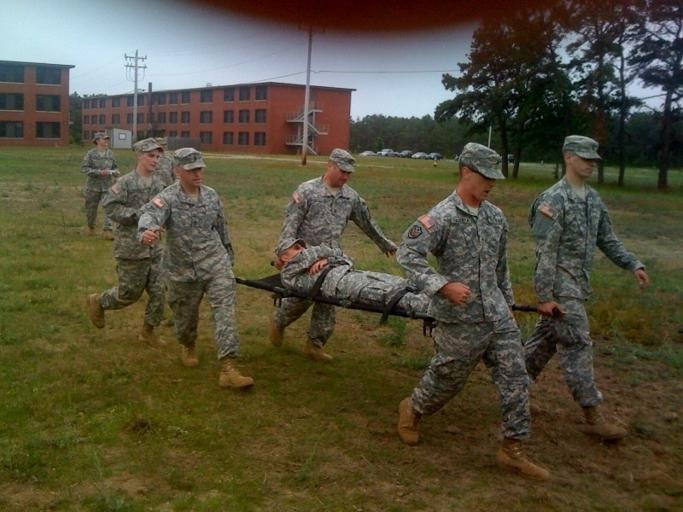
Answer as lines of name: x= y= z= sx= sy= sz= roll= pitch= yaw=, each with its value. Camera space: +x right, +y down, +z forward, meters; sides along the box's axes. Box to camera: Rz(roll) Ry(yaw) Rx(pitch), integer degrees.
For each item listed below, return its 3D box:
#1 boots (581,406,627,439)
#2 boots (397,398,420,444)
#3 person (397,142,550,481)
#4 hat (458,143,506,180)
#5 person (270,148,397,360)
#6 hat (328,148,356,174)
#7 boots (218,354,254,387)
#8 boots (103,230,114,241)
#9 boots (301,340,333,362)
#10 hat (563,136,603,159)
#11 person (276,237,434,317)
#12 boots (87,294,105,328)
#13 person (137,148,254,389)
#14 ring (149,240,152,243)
boots: x=2.289 y=1.420 z=4.775 sx=0.379 sy=0.348 sz=0.211 roll=-5 pitch=9 yaw=35
boots: x=0.568 y=1.395 z=4.568 sx=0.147 sy=0.390 sz=0.281 roll=-2 pitch=-19 yaw=-21
person: x=0.974 y=0.381 z=4.274 sx=1.127 sy=2.462 sz=0.810 roll=5 pitch=15 yaw=6
hat: x=1.083 y=-0.756 z=4.271 sx=0.380 sy=0.190 sz=0.287 roll=28 pitch=29 yaw=18
person: x=-0.119 y=-0.001 z=6.054 sx=1.473 sy=2.268 sz=0.810 roll=1 pitch=12 yaw=-22
hat: x=0.019 y=-0.980 z=5.533 sx=0.296 sy=0.156 sz=0.220 roll=25 pitch=34 yaw=0
boots: x=-1.058 y=1.157 z=5.462 sx=0.510 sy=0.334 sz=0.180 roll=2 pitch=1 yaw=22
boots: x=-4.887 y=-0.434 z=11.445 sx=0.144 sy=0.142 sz=0.349 roll=-5 pitch=2 yaw=-29
boots: x=-0.283 y=1.066 z=6.129 sx=0.403 sy=0.255 sz=0.156 roll=3 pitch=7 yaw=15
hat: x=2.126 y=-0.959 z=4.865 sx=0.322 sy=0.167 sz=0.247 roll=7 pitch=13 yaw=36
person: x=0.099 y=0.182 z=5.218 sx=1.886 sy=0.589 sz=0.617 roll=5 pitch=7 yaw=39
boots: x=-2.808 y=0.626 z=6.200 sx=0.239 sy=0.414 sz=0.105 roll=11 pitch=17 yaw=26
person: x=-1.358 y=0.071 z=5.534 sx=0.988 sy=2.271 sz=0.799 roll=9 pitch=16 yaw=22
ring: x=-1.703 y=-0.136 z=4.839 sx=0.017 sy=0.015 sz=0.016 roll=5 pitch=42 yaw=-5
